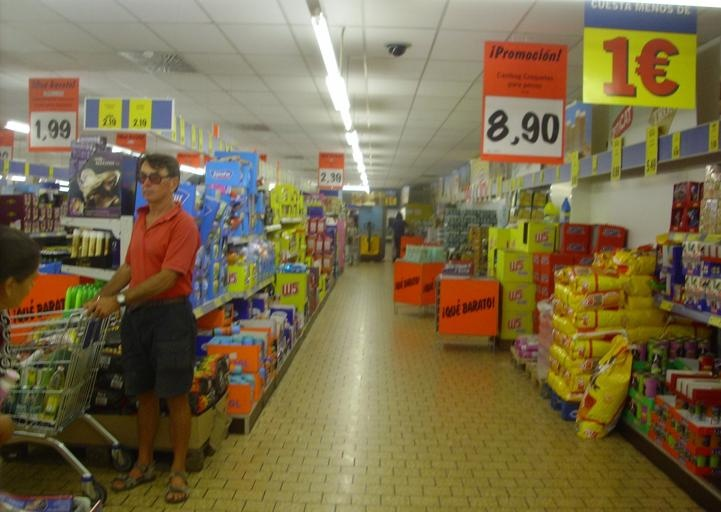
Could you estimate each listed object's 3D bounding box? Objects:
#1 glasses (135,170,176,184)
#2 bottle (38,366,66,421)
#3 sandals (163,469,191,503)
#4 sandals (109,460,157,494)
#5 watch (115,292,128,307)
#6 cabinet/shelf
[{"bbox_3d":[-1.518,-0.583,3.740,0.225,0.085,0.078,0,7,-6],"label":"glasses"},{"bbox_3d":[-2.023,0.921,3.305,0.128,0.356,0.095,-2,7,-25],"label":"bottle"},{"bbox_3d":[-1.336,1.700,3.678,0.093,0.090,0.265,1,1,-8],"label":"sandals"},{"bbox_3d":[-1.701,1.652,3.766,0.140,0.123,0.276,2,0,37],"label":"sandals"},{"bbox_3d":[-1.642,0.302,3.437,0.081,0.055,0.082,-9,2,-25],"label":"watch"},{"bbox_3d":[-2.202,-0.060,4.228,0.490,0.457,0.182,7,3,15],"label":"cabinet/shelf"}]
